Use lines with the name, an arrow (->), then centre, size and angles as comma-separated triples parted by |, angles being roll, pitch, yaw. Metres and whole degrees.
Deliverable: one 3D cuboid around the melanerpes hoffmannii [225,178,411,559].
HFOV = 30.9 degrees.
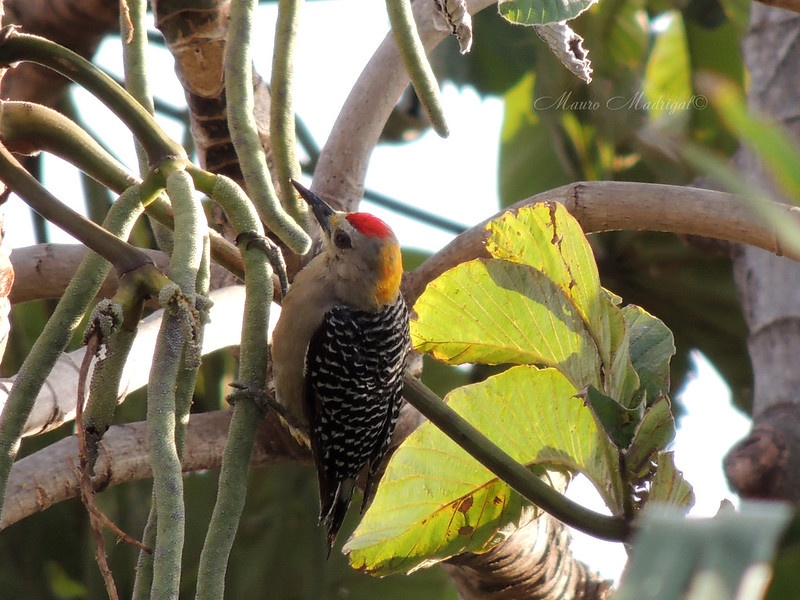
melanerpes hoffmannii -> -0.217, 0.316, 5.288 | 0.504, 1.019, 1.138 | 2, -28, -2
